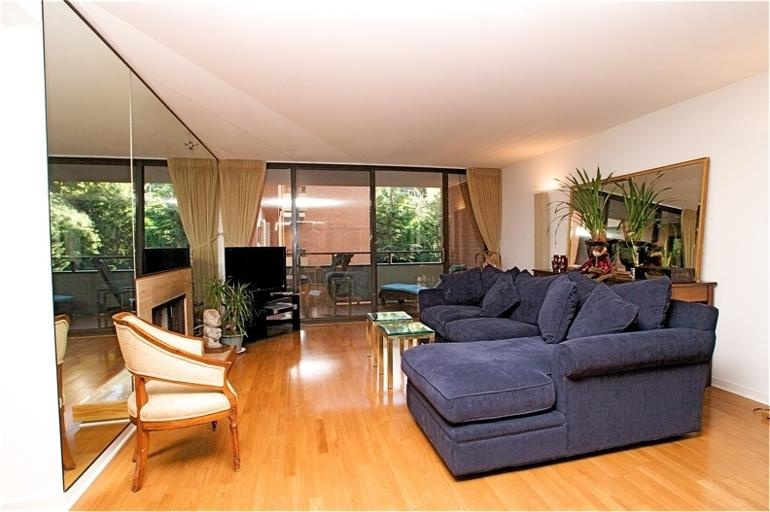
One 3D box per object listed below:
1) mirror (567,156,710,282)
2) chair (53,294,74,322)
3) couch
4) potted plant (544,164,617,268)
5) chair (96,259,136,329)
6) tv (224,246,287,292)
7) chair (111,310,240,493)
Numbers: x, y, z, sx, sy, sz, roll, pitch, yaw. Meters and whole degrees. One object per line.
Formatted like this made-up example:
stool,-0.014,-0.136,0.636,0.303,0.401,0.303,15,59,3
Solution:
mirror,3.024,-0.434,5.843,0.046,1.183,1.780,2,-3,-33
chair,-2.413,0.376,3.760,0.147,0.135,0.149,-1,3,-19
couch,1.351,0.899,4.888,2.433,1.508,2.046,-1,4,-11
potted plant,2.601,-0.679,6.606,0.851,1.041,1.098,-1,-3,-8
chair,-2.340,0.314,4.349,0.438,0.507,0.552,-2,4,-23
tv,-1.910,0.192,7.302,0.731,0.470,0.203,1,-3,-31
chair,-1.771,1.183,4.266,0.981,1.197,0.988,3,-6,-26
